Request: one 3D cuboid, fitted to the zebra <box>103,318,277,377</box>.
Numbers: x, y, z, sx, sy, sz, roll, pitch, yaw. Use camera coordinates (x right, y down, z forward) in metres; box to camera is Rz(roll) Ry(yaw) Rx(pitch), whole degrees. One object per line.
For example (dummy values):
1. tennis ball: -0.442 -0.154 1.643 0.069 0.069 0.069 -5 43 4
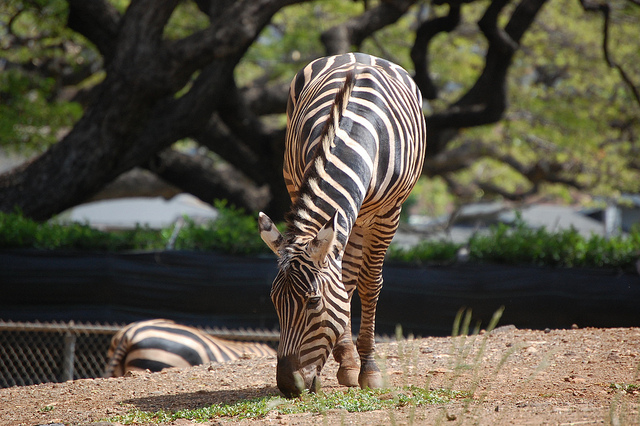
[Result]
1. zebra: -2.528 2.545 23.045 2.654 1.142 1.312 7 -10 -9
